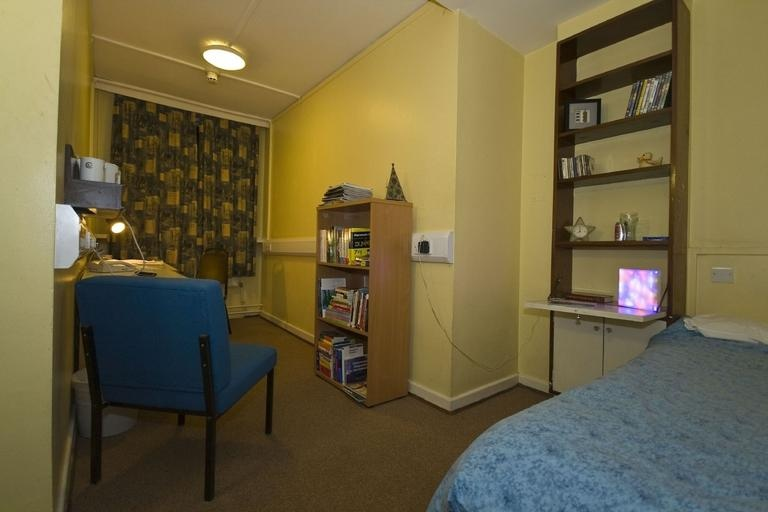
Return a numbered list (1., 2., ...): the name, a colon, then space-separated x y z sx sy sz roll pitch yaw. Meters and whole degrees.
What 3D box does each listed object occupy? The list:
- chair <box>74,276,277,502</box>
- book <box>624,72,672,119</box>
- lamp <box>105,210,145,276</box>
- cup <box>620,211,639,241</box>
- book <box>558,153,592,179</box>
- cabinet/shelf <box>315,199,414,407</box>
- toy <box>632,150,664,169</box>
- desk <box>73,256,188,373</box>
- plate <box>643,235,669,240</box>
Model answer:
1. chair: -0.969 0.694 3.664 1.009 1.563 1.306 1 2 10
2. book: 1.900 -1.159 3.892 0.285 0.289 0.114 2 5 27
3. lamp: -2.483 -0.129 5.187 0.254 0.166 0.568 11 28 -34
4. cup: 1.858 -0.230 4.064 0.146 0.200 0.096 -2 5 -29
5. book: 1.494 -0.702 4.242 0.254 0.261 0.188 -3 6 -39
6. cabinet/shelf: -0.160 0.323 4.571 0.562 1.601 0.808 -3 5 -38
7. toy: 1.957 -0.710 4.002 0.122 0.125 0.169 -1 3 -30
8. desk: -2.087 0.133 4.390 0.722 0.989 1.354 -2 7 -31
9. plate: 1.963 -0.129 3.915 0.154 0.031 0.214 3 6 28
